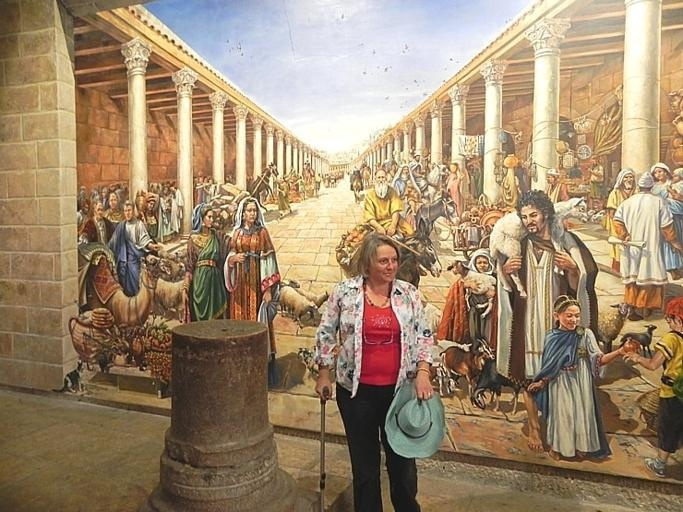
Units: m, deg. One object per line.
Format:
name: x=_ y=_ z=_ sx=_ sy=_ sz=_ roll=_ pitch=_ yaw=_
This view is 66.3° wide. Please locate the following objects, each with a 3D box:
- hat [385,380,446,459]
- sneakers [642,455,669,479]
hat: x=0.460 y=1.019 z=3.355 sx=0.368 sy=0.497 sz=0.176 roll=-5 pitch=-40 yaw=-2
sneakers: x=2.625 y=1.766 z=4.393 sx=0.088 sy=0.135 sz=0.190 roll=-1 pitch=30 yaw=0
